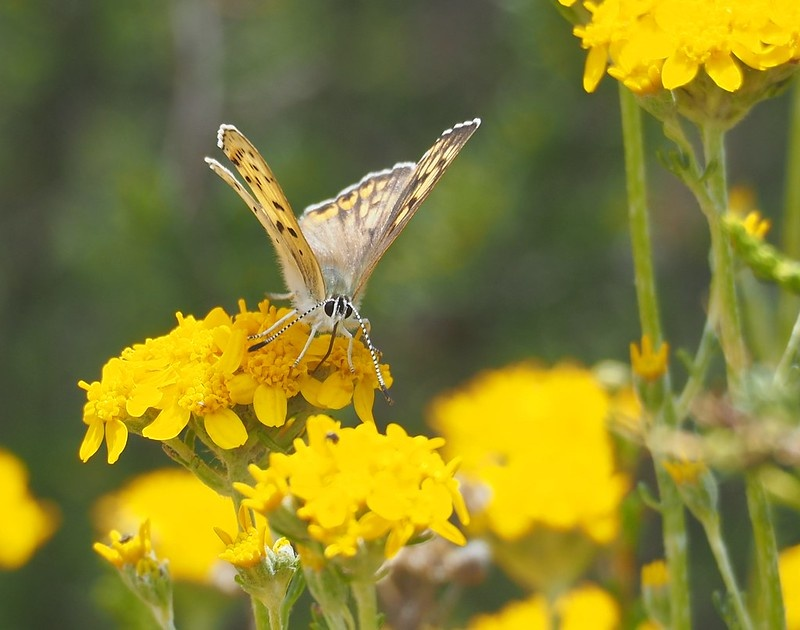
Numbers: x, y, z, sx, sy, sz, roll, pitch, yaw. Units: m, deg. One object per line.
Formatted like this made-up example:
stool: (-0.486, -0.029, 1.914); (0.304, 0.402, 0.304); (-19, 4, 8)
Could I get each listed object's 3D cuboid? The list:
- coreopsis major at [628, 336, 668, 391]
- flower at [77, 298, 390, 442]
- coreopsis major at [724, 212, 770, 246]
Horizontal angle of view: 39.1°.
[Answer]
coreopsis major: (0.482, 0.093, 2.127); (0.076, 0.102, 0.092); (1, 11, 19)
flower: (-0.319, 0.108, 2.216); (0.353, 0.145, 0.348); (-20, 19, -36)
coreopsis major: (0.669, -0.166, 2.191); (0.075, 0.084, 0.037); (15, -64, -42)
